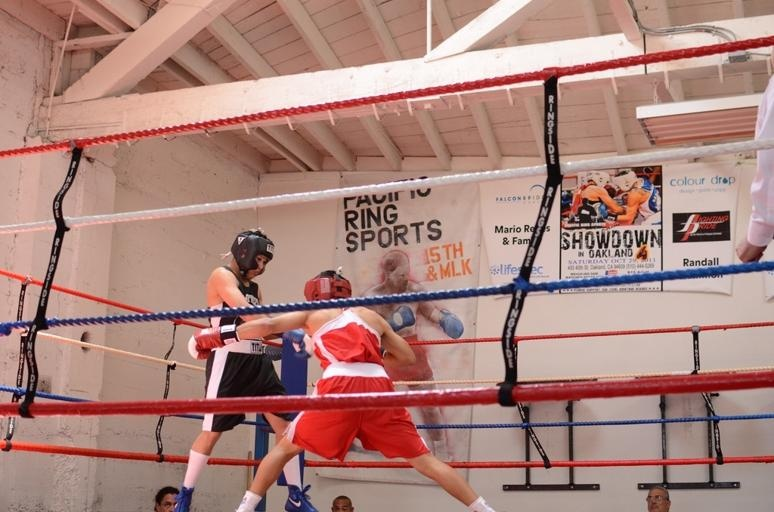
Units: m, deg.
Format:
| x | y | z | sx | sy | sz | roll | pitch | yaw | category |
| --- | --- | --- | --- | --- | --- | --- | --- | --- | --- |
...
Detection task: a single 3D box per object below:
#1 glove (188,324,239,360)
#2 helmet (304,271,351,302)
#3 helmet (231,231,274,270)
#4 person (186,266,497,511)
| x | y | z | sx | sy | sz | roll | pitch | yaw | category |
| --- | --- | --- | --- | --- | --- | --- | --- | --- | --- |
| -0.901 | 0.437 | 4.033 | 0.187 | 0.170 | 0.293 | 13 | -19 | -36 | glove |
| -0.366 | 0.184 | 4.646 | 0.258 | 0.179 | 0.178 | -8 | -11 | 8 | helmet |
| -0.846 | -0.032 | 4.942 | 0.298 | 0.229 | 0.215 | 4 | -7 | 33 | helmet |
| -0.272 | 0.714 | 4.356 | 1.544 | 1.381 | 0.666 | 6 | -17 | -18 | person |
